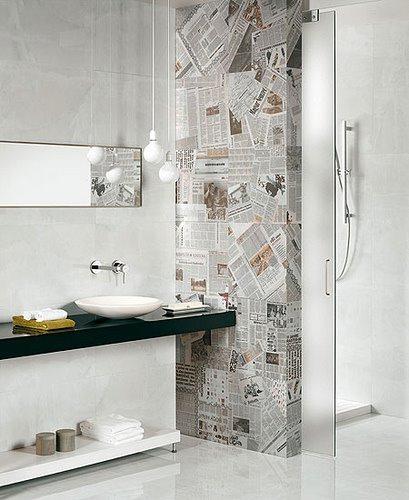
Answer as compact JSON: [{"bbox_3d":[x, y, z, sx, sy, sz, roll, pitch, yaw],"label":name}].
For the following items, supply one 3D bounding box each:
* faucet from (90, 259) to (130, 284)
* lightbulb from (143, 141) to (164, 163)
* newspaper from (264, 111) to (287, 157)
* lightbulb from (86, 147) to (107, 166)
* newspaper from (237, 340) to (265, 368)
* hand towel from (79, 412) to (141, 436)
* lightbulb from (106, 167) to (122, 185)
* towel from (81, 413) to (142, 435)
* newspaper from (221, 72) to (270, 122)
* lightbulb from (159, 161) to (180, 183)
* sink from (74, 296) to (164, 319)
[{"bbox_3d":[-0.531,0.117,3.013,0.156,0.150,0.294,-5,-11,35],"label":"faucet"},{"bbox_3d":[-0.277,-0.539,2.772,0.121,0.159,0.120,0,3,13],"label":"lightbulb"},{"bbox_3d":[0.406,-0.711,2.944,0.170,0.302,0.010,4,6,33],"label":"newspaper"},{"bbox_3d":[-0.595,-0.520,2.728,0.085,0.093,0.107,0,-9,7],"label":"lightbulb"},{"bbox_3d":[0.292,0.653,3.118,0.011,0.165,0.231,9,-12,-37],"label":"newspaper"},{"bbox_3d":[-0.531,0.966,2.747,0.160,0.049,0.163,3,1,36],"label":"hand towel"},{"bbox_3d":[-0.546,-0.452,2.978,0.091,0.119,0.091,-4,8,-31],"label":"lightbulb"},{"bbox_3d":[-0.540,0.977,2.787,0.149,0.045,0.150,3,2,29],"label":"towel"},{"bbox_3d":[0.248,-0.967,3.107,0.068,0.286,0.261,-13,-35,-49],"label":"newspaper"},{"bbox_3d":[-0.208,-0.448,2.911,0.121,0.164,0.120,1,-2,-37],"label":"lightbulb"},{"bbox_3d":[-0.499,0.321,2.858,0.513,0.148,0.431,6,-10,-30],"label":"sink"}]
